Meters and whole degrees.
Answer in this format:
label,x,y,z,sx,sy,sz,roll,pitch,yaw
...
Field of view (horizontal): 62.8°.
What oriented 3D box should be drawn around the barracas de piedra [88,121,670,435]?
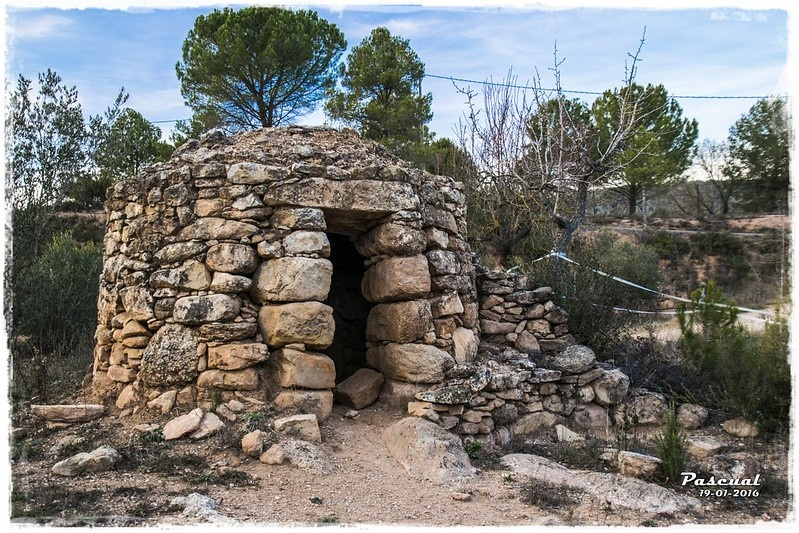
label,x,y,z,sx,sy,sz,roll,pitch,yaw
barracas de piedra,-0.703,0.478,10.884,6.971,3.321,5.043,2,-4,-4
